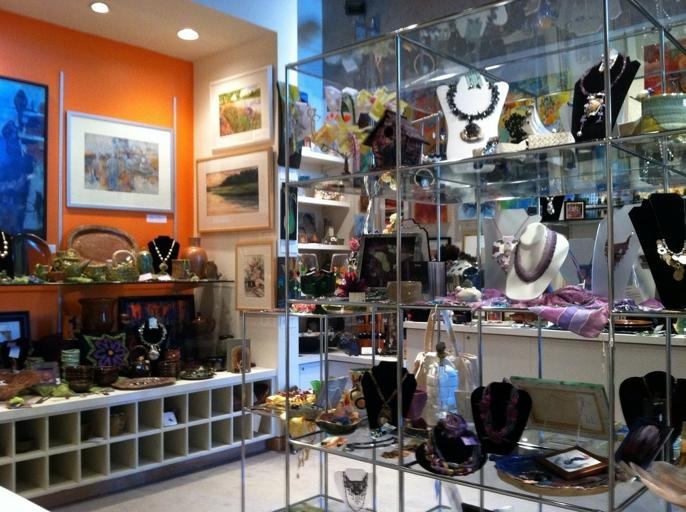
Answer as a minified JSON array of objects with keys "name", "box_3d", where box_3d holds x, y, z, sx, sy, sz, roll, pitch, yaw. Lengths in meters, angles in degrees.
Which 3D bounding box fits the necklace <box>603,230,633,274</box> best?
[{"name":"necklace","box_3d":[1.180,-0.014,2.426,0.104,0.165,0.049,15,12,-1]}]

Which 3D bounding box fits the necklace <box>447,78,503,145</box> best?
[{"name":"necklace","box_3d":[0.640,-0.681,2.707,0.320,0.434,0.153,0,-7,13]}]

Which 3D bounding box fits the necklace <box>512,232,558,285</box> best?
[{"name":"necklace","box_3d":[0.869,0.018,2.560,0.071,0.229,0.188,7,0,-33]}]

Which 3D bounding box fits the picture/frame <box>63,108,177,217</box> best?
[{"name":"picture/frame","box_3d":[-2.061,-0.845,5.117,1.004,0.862,0.037,-1,1,-43]}]

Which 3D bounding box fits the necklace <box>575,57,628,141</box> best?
[{"name":"necklace","box_3d":[1.054,-0.658,2.371,0.192,0.237,0.215,-1,-2,-34]}]

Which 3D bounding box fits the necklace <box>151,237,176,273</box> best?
[{"name":"necklace","box_3d":[-1.650,-0.006,5.176,0.264,0.390,0.150,2,-42,-17]}]

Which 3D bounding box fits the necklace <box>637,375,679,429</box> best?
[{"name":"necklace","box_3d":[1.414,0.634,2.490,0.166,0.193,0.082,-2,-2,24]}]

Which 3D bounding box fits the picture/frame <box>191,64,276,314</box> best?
[{"name":"picture/frame","box_3d":[-0.991,-0.608,5.338,0.933,2.205,0.092,-3,-2,33]}]

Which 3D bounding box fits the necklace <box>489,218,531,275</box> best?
[{"name":"necklace","box_3d":[0.823,-0.062,2.777,0.193,0.256,0.098,-5,-31,41]}]

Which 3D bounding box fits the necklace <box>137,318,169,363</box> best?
[{"name":"necklace","box_3d":[-1.641,0.730,4.852,0.272,0.495,0.050,7,-17,-38]}]
